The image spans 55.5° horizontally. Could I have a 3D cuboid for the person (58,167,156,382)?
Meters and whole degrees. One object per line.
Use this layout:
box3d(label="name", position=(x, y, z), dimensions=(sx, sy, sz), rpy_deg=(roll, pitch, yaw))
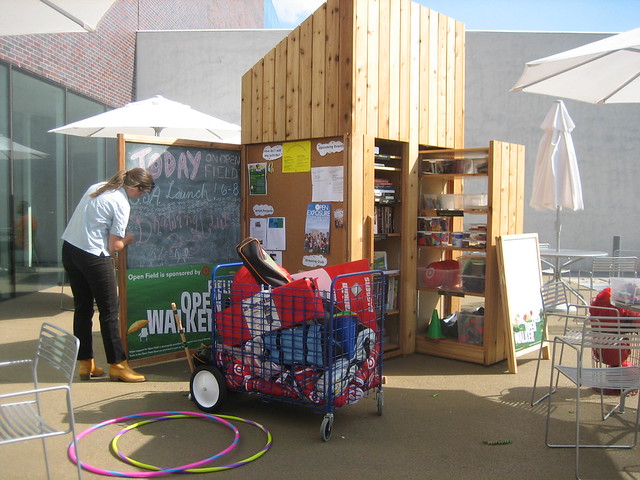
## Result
box3d(label="person", position=(-2.200, 0.371, 6.274), dimensions=(0.825, 2.206, 0.378), rpy_deg=(-3, 8, -21))

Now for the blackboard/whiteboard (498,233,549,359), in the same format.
box3d(label="blackboard/whiteboard", position=(2.290, 0.661, 6.977), dimensions=(0.066, 1.616, 1.309), rpy_deg=(-2, 3, 35))

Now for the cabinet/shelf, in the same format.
box3d(label="cabinet/shelf", position=(1.731, 0.077, 7.549), dimensions=(1.423, 2.573, 1.531), rpy_deg=(3, 8, 19))

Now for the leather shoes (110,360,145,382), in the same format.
box3d(label="leather shoes", position=(-1.968, 1.382, 6.458), dimensions=(0.448, 0.257, 0.167), rpy_deg=(2, 2, -3))

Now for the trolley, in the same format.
box3d(label="trolley", position=(-0.239, 0.811, 5.920), dimensions=(1.950, 1.823, 1.307), rpy_deg=(2, 0, 28))
